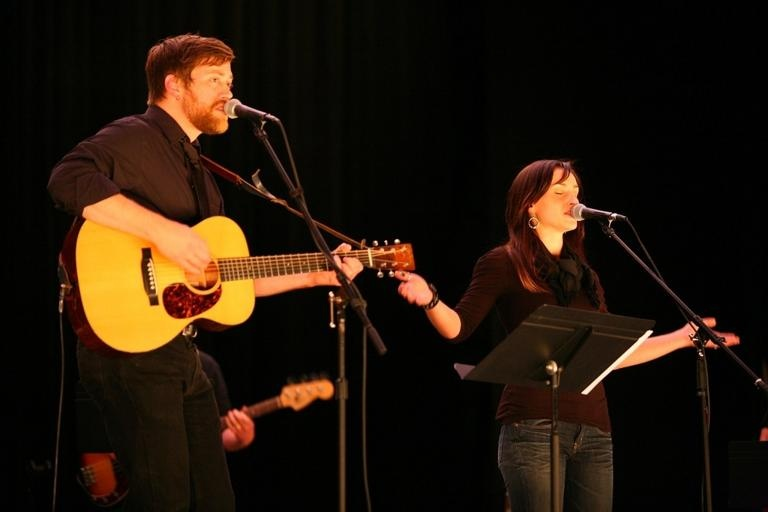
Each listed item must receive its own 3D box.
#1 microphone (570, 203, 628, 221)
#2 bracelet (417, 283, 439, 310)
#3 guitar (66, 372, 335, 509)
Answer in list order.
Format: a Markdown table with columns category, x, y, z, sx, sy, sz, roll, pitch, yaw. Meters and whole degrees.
| category | x | y | z | sx | sy | sz | roll | pitch | yaw |
| --- | --- | --- | --- | --- | --- | --- | --- | --- | --- |
| microphone | 1.388 | -0.273 | 5.591 | 0.371 | 0.140 | 0.129 | 8 | -3 | 23 |
| bracelet | 0.288 | 0.245 | 5.362 | 0.053 | 0.142 | 0.126 | 24 | -34 | 11 |
| guitar | -1.345 | 1.304 | 6.582 | 2.126 | 0.839 | 0.321 | -23 | 3 | -16 |
